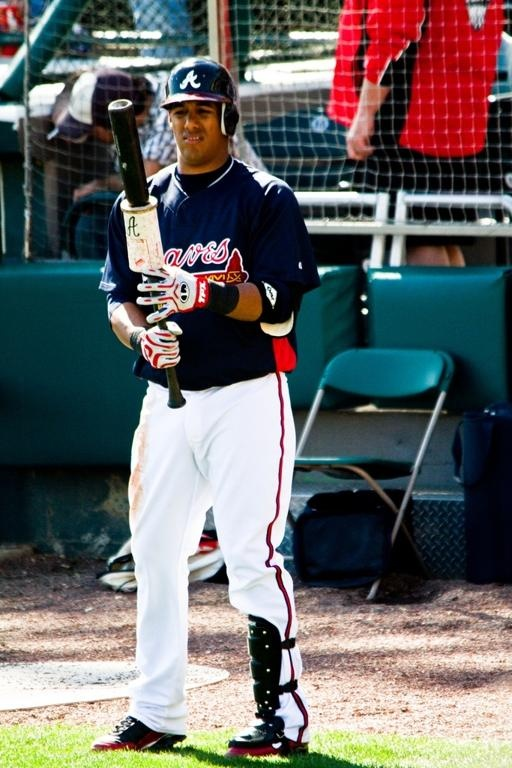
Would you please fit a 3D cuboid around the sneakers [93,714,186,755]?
[{"bbox_3d":[-0.277,0.850,2.374,0.209,0.085,0.070,7,-12,-23],"label":"sneakers"}]

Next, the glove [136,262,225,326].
[{"bbox_3d":[-0.170,-0.202,2.158,0.192,0.105,0.060,3,-7,3],"label":"glove"}]

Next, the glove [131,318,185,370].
[{"bbox_3d":[-0.200,-0.100,2.242,0.108,0.123,0.056,-25,15,44],"label":"glove"}]

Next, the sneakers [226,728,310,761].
[{"bbox_3d":[0.027,0.834,2.276,0.179,0.069,0.059,5,-11,-8],"label":"sneakers"}]
